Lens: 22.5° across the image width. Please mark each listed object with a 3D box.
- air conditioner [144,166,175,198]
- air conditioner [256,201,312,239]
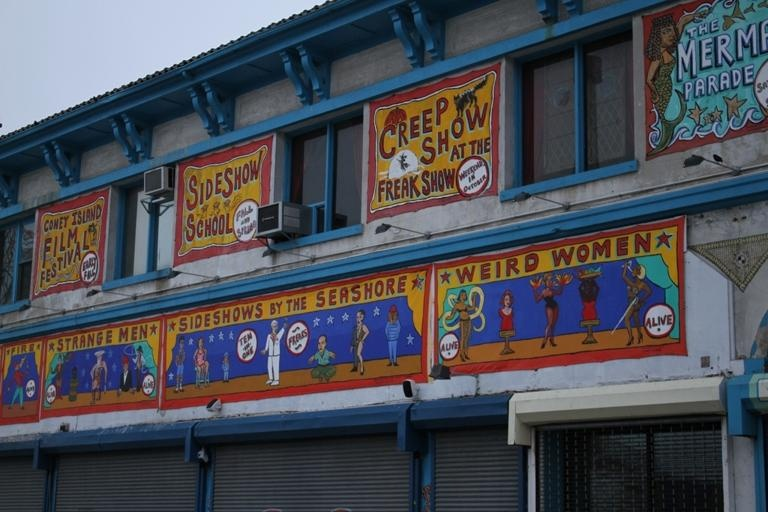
[{"bbox_3d":[-5.559,-1.812,47.869,0.777,0.628,0.452,-19,-24,39],"label":"air conditioner"},{"bbox_3d":[-2.340,-0.795,45.447,1.102,0.658,1.149,-8,-12,43],"label":"air conditioner"}]
